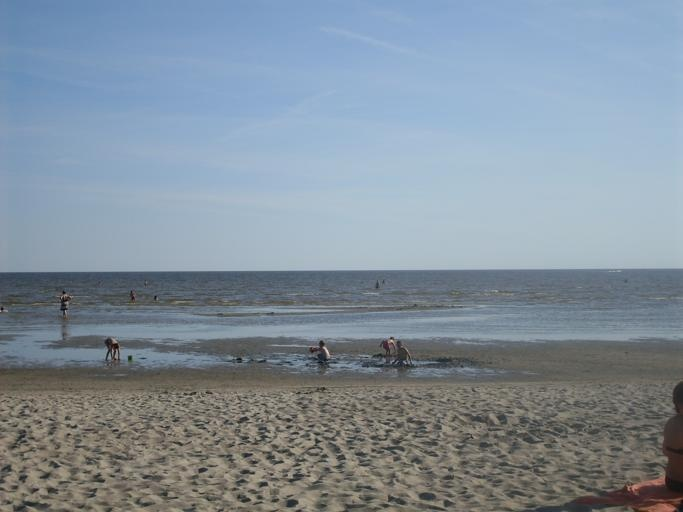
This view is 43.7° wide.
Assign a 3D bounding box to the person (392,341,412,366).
[{"bbox_3d":[2.495,3.908,34.427,0.760,0.995,0.874,-3,0,2],"label":"person"}]
